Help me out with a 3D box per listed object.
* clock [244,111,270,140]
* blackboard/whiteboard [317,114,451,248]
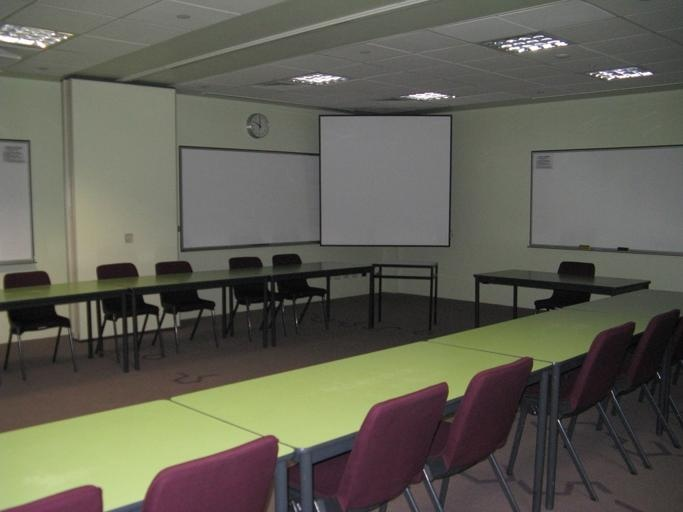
[{"bbox_3d":[-1.345,-2.101,8.393,0.436,0.409,0.069,-6,10,-41],"label":"clock"},{"bbox_3d":[0.767,-1.332,8.734,2.080,2.166,0.089,0,9,3],"label":"blackboard/whiteboard"}]
